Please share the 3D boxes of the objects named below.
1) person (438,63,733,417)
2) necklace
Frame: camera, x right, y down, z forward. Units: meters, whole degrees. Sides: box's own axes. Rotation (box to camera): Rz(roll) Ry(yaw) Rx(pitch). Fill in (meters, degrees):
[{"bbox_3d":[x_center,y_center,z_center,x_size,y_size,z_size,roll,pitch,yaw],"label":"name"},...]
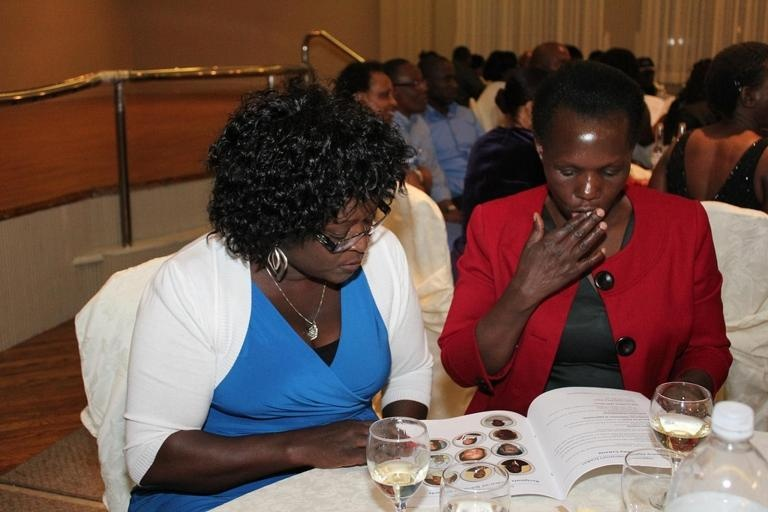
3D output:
[{"bbox_3d":[0.665,-0.017,1.848,0.917,1.144,0.394,2,17,10],"label":"person"},{"bbox_3d":[-0.255,0.144,1.766,0.193,0.196,0.054,-4,-22,-40],"label":"necklace"}]
